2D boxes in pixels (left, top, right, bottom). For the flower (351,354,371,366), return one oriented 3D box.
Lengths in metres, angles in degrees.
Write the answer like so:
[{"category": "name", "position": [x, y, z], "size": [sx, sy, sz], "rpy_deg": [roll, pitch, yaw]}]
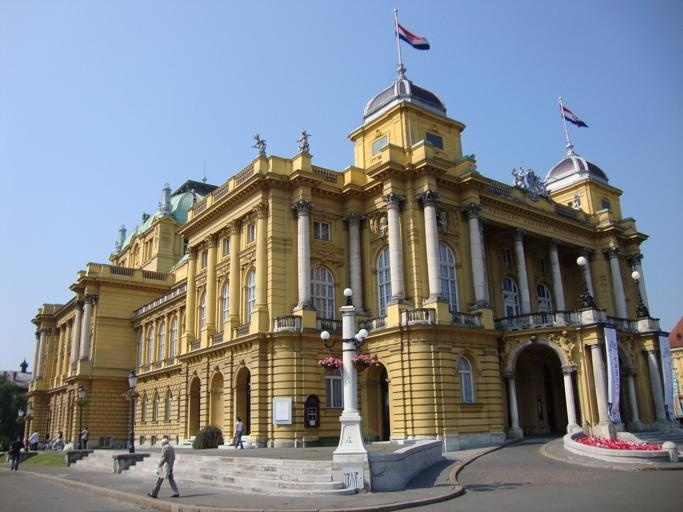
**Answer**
[{"category": "flower", "position": [0.832, 4.406, 24.341], "size": [0.546, 0.328, 0.528], "rpy_deg": [2, -9, 8]}]
